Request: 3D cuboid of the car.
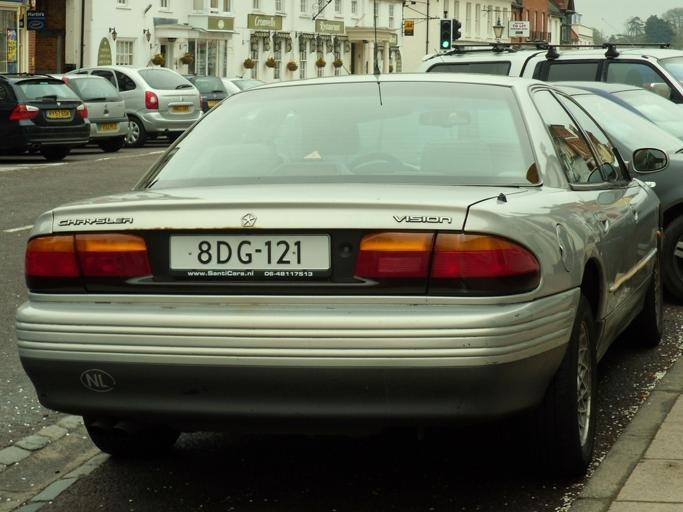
[{"bbox_3d":[0.271,-0.149,3.574,1.865,0.951,3.136,0,6,16],"label":"car"}]
